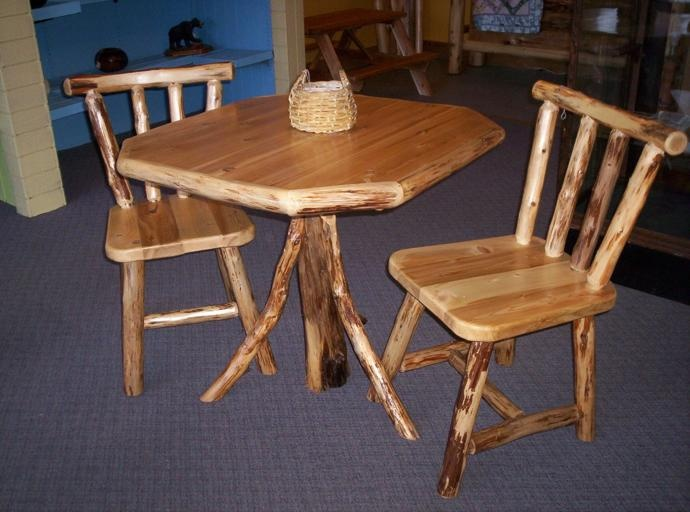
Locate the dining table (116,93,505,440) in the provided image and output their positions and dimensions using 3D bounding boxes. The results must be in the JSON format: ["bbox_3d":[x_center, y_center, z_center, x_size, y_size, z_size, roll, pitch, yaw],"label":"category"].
[{"bbox_3d":[-0.110,0.092,1.899,1.010,0.656,0.908,-3,1,21],"label":"dining table"}]

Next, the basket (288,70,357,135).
[{"bbox_3d":[-0.078,-0.518,1.883,0.260,0.165,0.225,-1,30,1],"label":"basket"}]

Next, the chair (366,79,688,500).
[{"bbox_3d":[0.545,0.081,1.748,0.868,1.141,0.618,-15,35,-20],"label":"chair"}]
